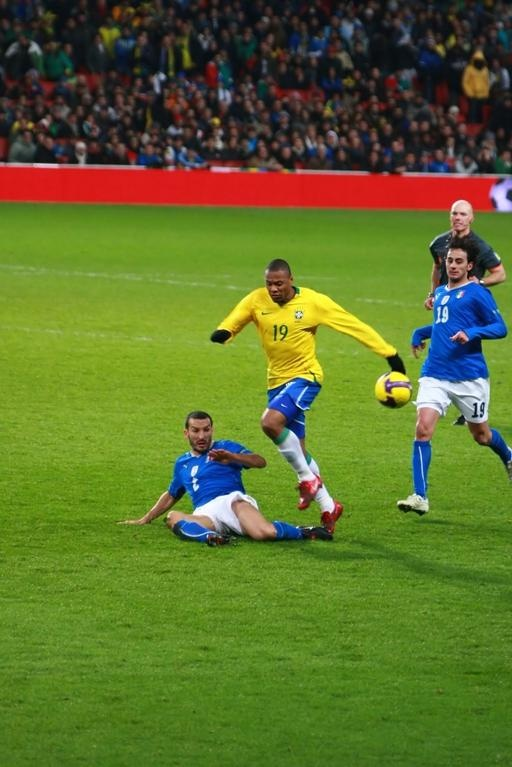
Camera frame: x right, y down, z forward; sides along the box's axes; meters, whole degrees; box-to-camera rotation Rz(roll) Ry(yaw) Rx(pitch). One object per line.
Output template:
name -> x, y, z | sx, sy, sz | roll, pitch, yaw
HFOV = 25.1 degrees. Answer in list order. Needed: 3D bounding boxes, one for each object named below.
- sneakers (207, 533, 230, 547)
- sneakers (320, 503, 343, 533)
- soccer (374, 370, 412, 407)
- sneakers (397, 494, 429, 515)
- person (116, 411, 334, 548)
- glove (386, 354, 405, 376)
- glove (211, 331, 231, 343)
sneakers -> -0.203, 0.862, 6.359 | 0.058, 0.065, 0.148 | 0, 7, 5
sneakers -> 0.435, 0.772, 6.637 | 0.074, 0.214, 0.086 | -21, -57, 41
soccer -> 0.797, 0.035, 6.686 | 0.191, 0.219, 0.229 | 3, 4, 5
sneakers -> 0.923, 0.703, 6.707 | 0.232, 0.116, 0.084 | 13, -27, -16
person -> -0.259, 0.547, 6.494 | 1.207, 0.809, 0.714 | -12, -14, 20
glove -> 0.861, -0.115, 7.102 | 0.100, 0.075, 0.304 | 9, -10, 24
glove -> -0.197, -0.274, 6.625 | 0.108, 0.072, 0.203 | 2, 4, -2
